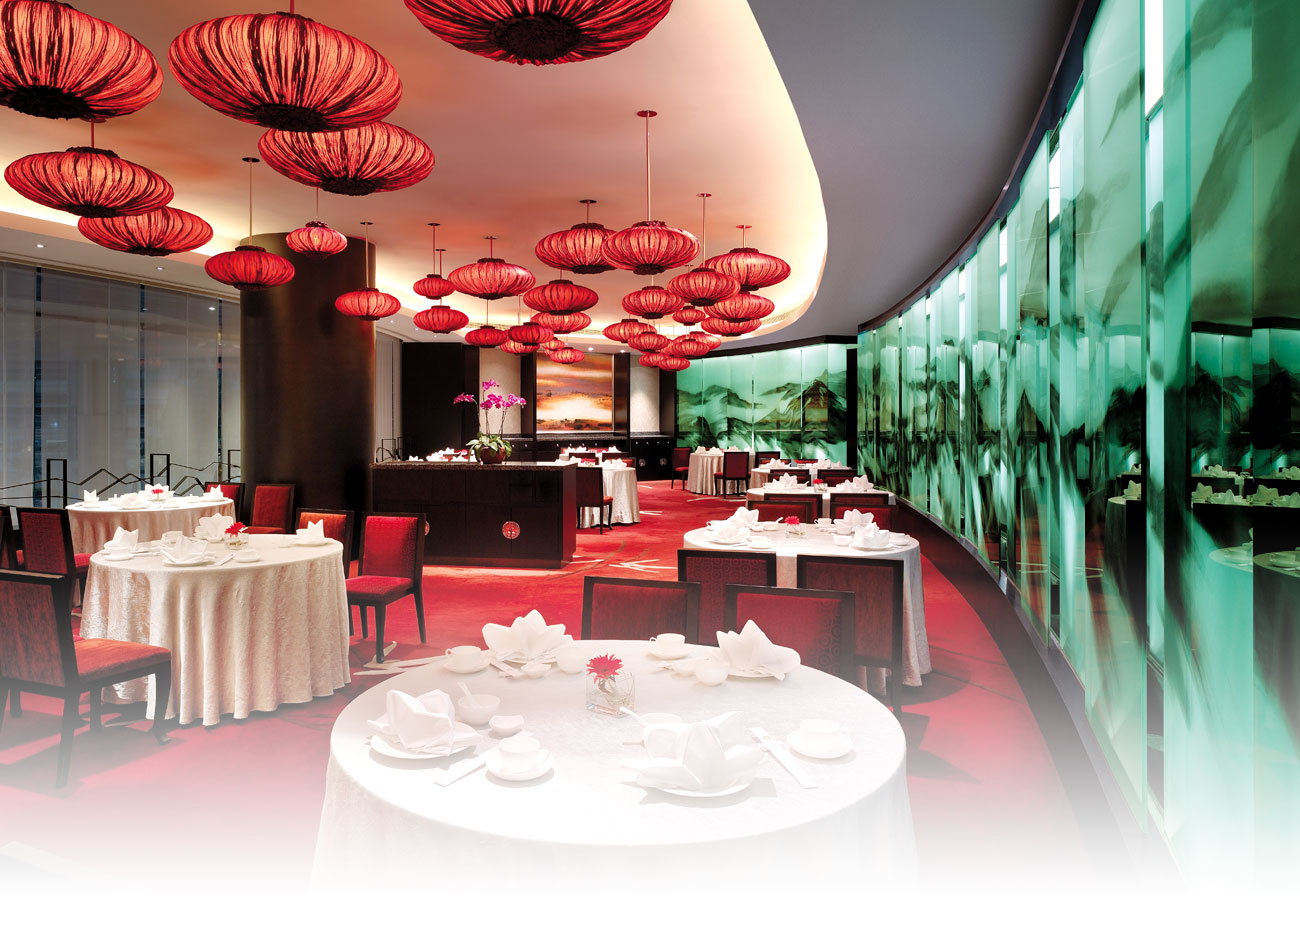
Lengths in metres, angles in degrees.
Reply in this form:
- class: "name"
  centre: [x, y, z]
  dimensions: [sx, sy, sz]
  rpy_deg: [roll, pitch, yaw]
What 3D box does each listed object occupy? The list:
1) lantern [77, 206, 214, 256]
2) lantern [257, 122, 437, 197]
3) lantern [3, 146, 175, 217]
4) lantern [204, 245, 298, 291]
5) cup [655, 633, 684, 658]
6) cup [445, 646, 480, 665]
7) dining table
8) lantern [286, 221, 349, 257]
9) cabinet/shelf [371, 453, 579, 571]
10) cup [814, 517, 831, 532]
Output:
- class: "lantern"
  centre: [-3.662, -1.777, 6.349]
  dimensions: [0.556, 0.202, 0.562]
  rpy_deg: [-1, -1, -9]
- class: "lantern"
  centre: [-1.712, -1.801, 4.856]
  dimensions: [0.692, 0.365, 0.650]
  rpy_deg: [4, 7, 28]
- class: "lantern"
  centre: [-3.507, -1.785, 5.370]
  dimensions: [0.624, 0.306, 0.626]
  rpy_deg: [-4, -11, 15]
- class: "lantern"
  centre: [-3.589, -1.898, 7.868]
  dimensions: [0.654, 0.379, 0.689]
  rpy_deg: [-1, 6, -15]
- class: "cup"
  centre: [0.068, 0.629, 3.195]
  dimensions: [0.080, 0.051, 0.098]
  rpy_deg: [0, -10, -11]
- class: "cup"
  centre: [-0.646, 0.633, 3.088]
  dimensions: [0.080, 0.045, 0.099]
  rpy_deg: [-2, -9, 10]
- class: "dining table"
  centre: [-0.112, 0.893, 2.593]
  dimensions: [1.748, 0.502, 0.986]
  rpy_deg: [1, 6, 9]
- class: "lantern"
  centre: [-2.919, -2.095, 7.669]
  dimensions: [0.394, 0.260, 0.421]
  rpy_deg: [0, 6, 1]
- class: "cabinet/shelf"
  centre: [-1.934, 0.397, 9.832]
  dimensions: [2.150, 1.111, 0.758]
  rpy_deg: [0, 4, 5]
- class: "cup"
  centre: [1.231, 0.356, 6.276]
  dimensions: [0.121, 0.090, 0.095]
  rpy_deg: [-3, -4, 27]
